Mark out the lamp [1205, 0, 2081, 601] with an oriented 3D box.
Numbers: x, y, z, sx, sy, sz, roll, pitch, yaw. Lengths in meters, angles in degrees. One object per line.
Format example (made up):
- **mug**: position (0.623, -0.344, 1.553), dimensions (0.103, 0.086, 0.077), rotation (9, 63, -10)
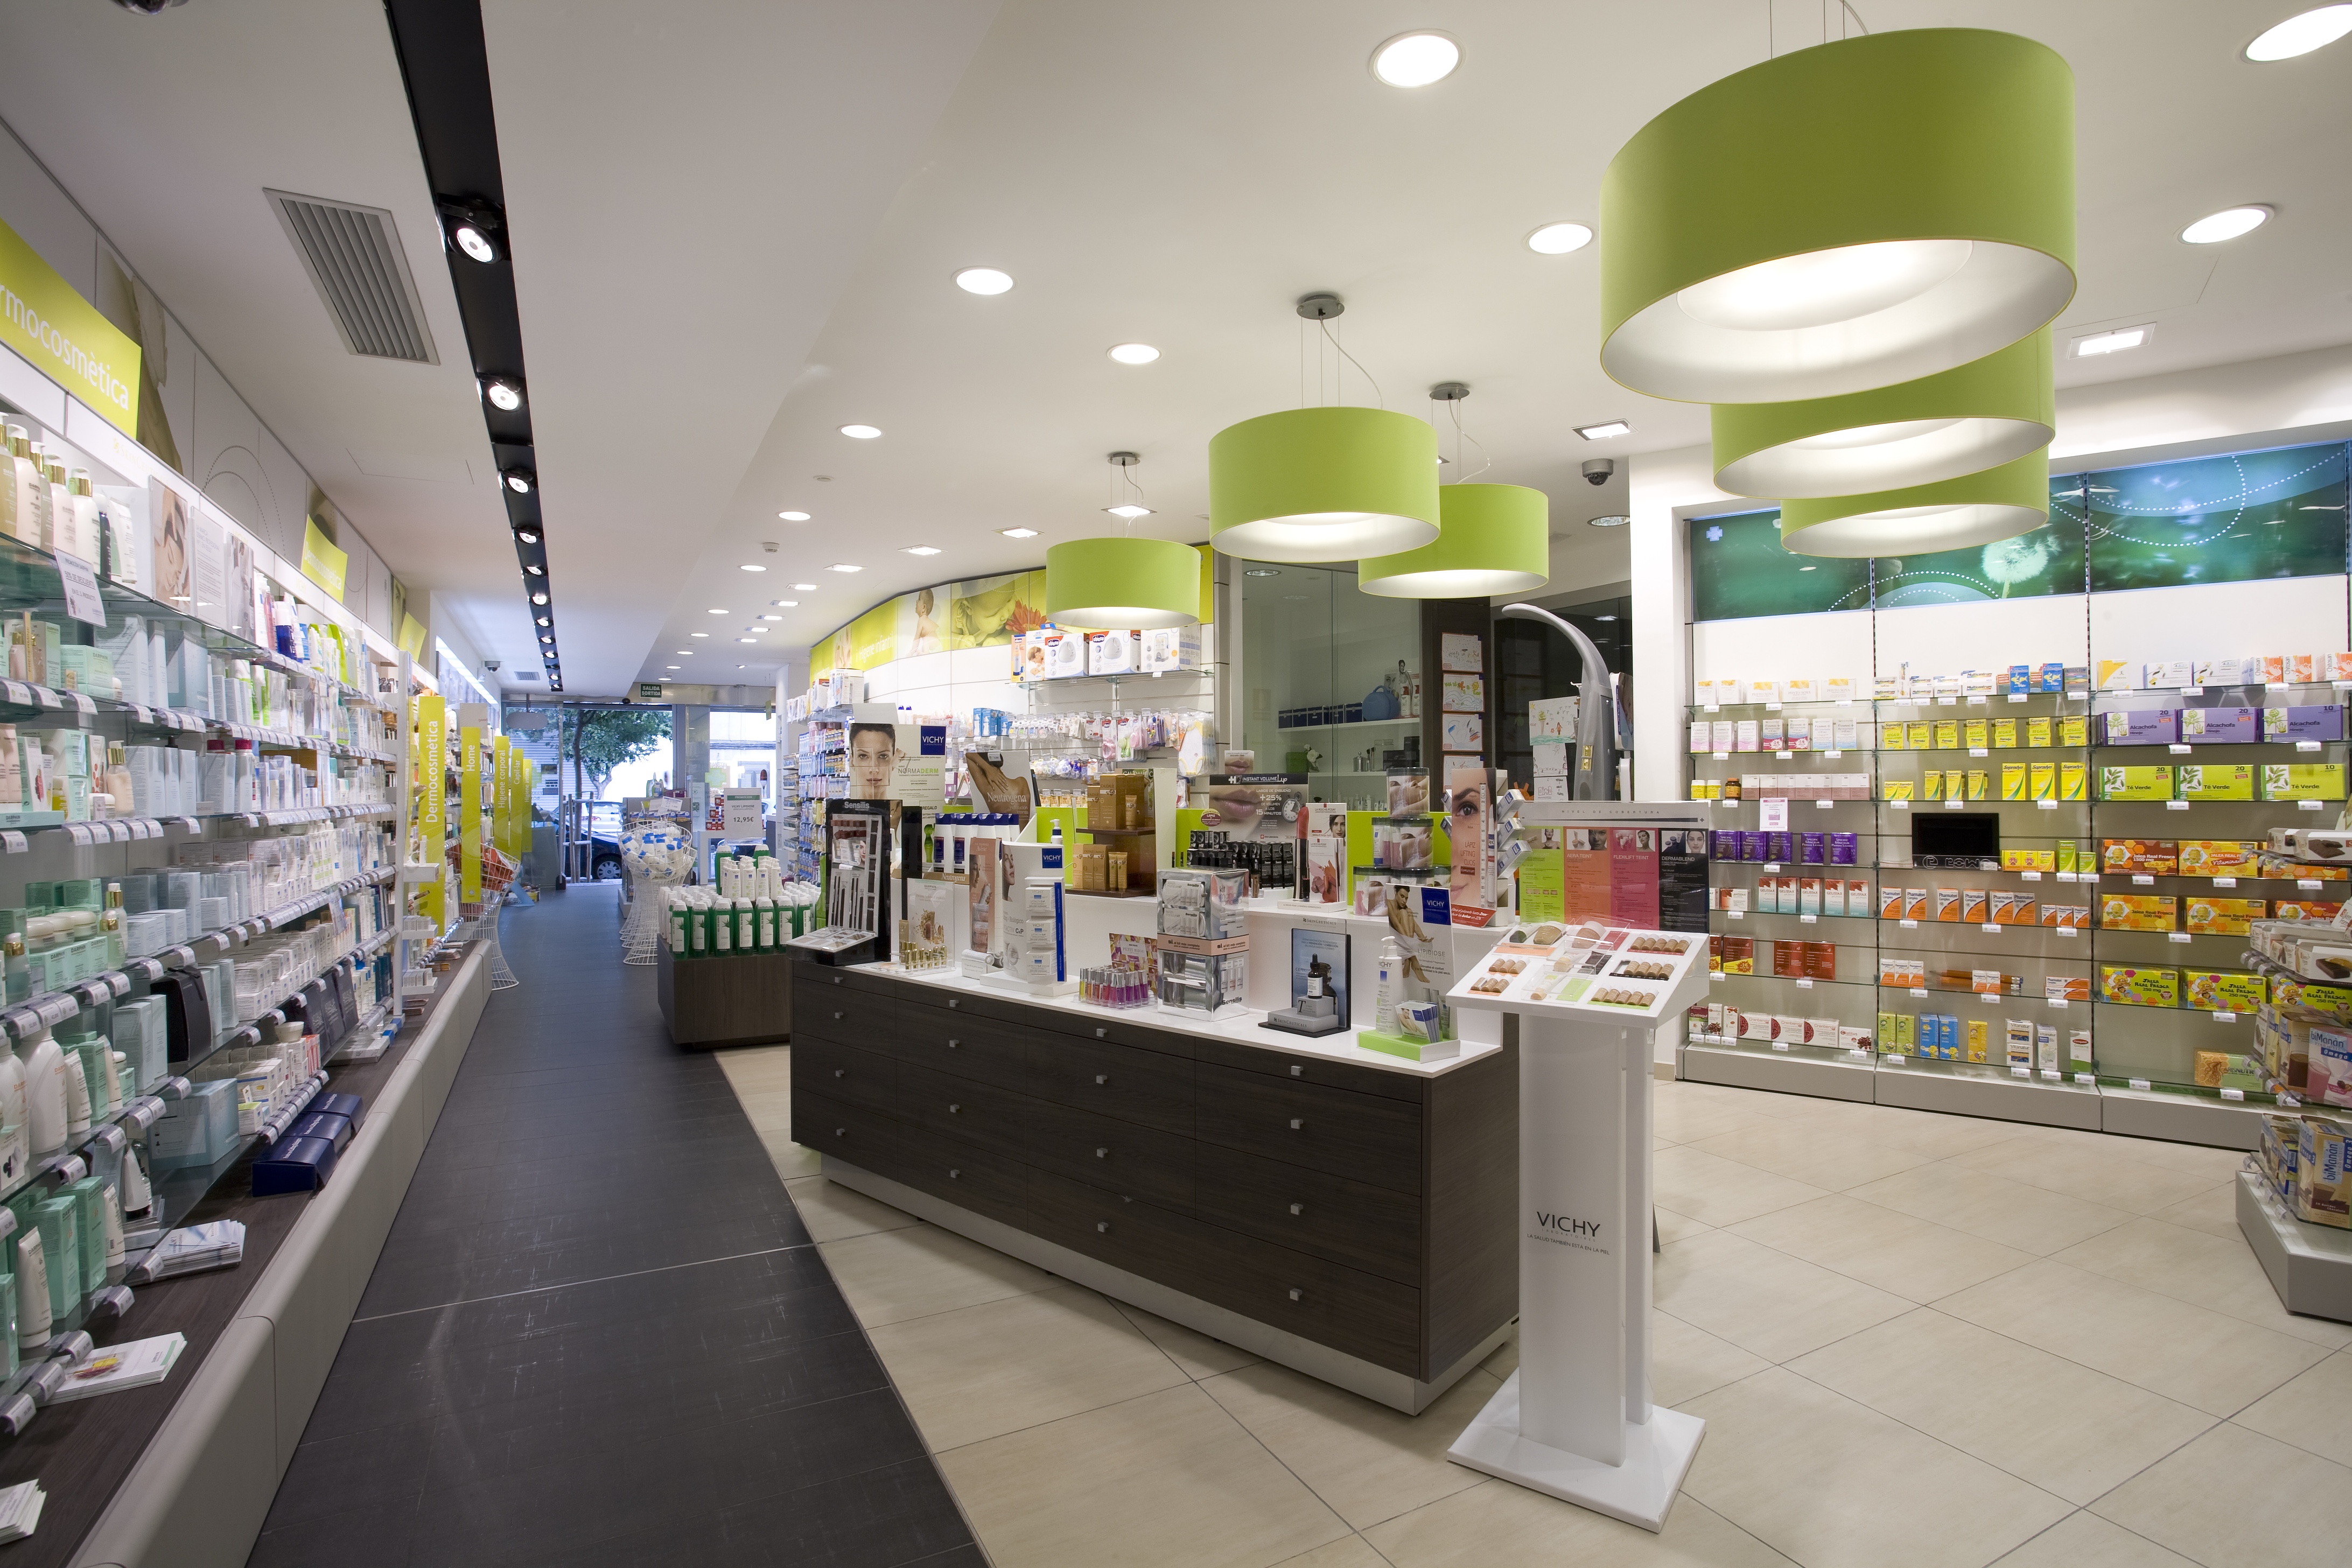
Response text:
- **lamp**: position (1.294, -1.427, 4.747), dimensions (2.530, 0.582, 1.702), rotation (-14, -15, 41)
